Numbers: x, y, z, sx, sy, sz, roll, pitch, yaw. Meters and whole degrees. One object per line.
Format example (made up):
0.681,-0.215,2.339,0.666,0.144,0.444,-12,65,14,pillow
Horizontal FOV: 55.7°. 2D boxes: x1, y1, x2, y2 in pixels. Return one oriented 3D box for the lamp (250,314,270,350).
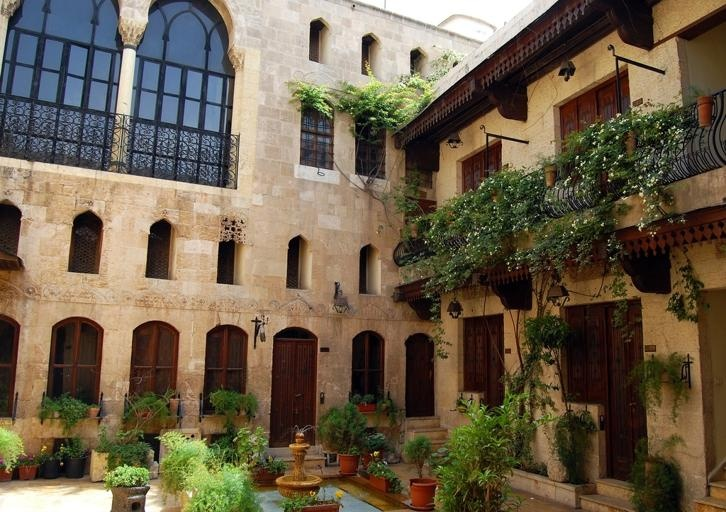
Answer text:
-2.593,1.927,17.249,0.625,0.987,0.498,8,-18,-29,lamp
